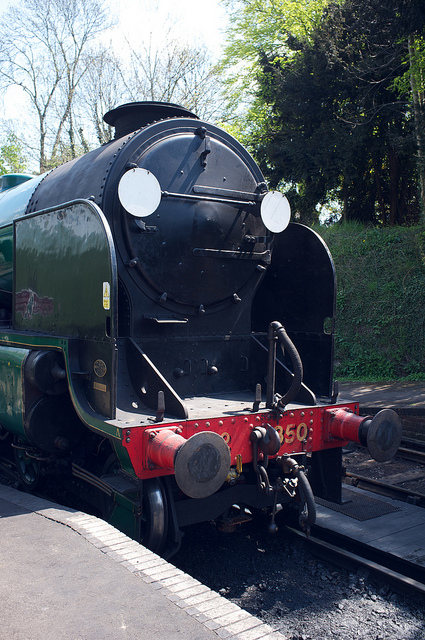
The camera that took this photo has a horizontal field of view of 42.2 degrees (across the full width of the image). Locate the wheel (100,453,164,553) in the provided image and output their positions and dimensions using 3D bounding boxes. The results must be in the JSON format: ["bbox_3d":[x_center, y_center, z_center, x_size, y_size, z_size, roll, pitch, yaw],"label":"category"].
[{"bbox_3d":[-0.542,1.173,3.611,0.189,0.542,0.691,9,-7,-37],"label":"wheel"}]
